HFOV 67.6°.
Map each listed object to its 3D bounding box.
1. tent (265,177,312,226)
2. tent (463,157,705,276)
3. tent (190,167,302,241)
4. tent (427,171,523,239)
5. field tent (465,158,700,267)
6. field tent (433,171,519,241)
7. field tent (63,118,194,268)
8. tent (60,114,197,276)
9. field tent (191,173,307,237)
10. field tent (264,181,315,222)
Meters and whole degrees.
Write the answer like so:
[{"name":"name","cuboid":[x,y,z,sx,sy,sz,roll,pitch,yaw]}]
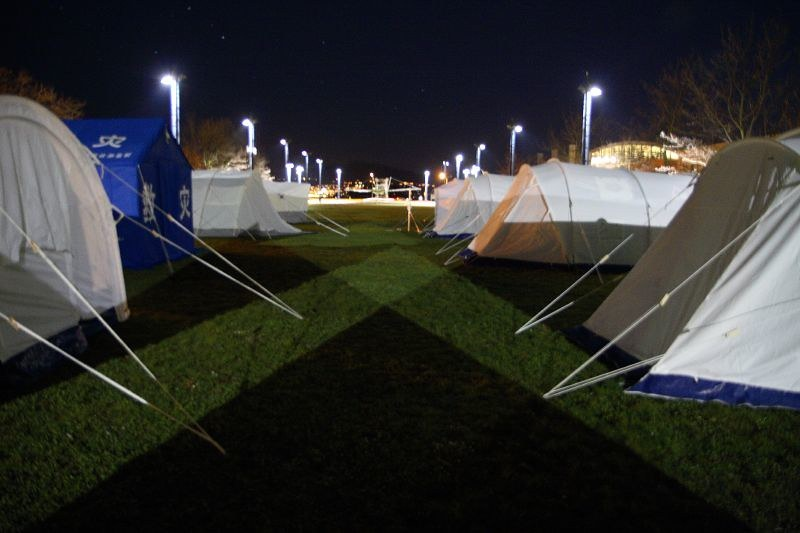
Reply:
[{"name":"tent","cuboid":[-5.043,-2.843,26.874,1.796,1.351,1.969,-1,24,-4]},{"name":"tent","cuboid":[4.114,-1.247,13.867,3.758,1.396,3.126,-7,39,-9]},{"name":"tent","cuboid":[-5.640,-2.170,20.850,2.466,1.413,2.652,0,9,3]},{"name":"tent","cuboid":[2.517,-2.142,20.653,1.975,1.164,2.549,-14,8,-22]},{"name":"field tent","cuboid":[4.318,-1.276,13.863,3.709,1.482,3.099,-7,41,-10]},{"name":"field tent","cuboid":[2.426,-1.991,20.873,1.965,1.149,2.501,-11,3,-31]},{"name":"field tent","cuboid":[-5.308,-1.446,11.629,2.496,2.293,2.724,3,19,5]},{"name":"tent","cuboid":[-5.259,-1.347,11.533,2.706,2.578,2.449,5,20,11]},{"name":"field tent","cuboid":[-5.665,-2.133,20.769,2.431,1.405,2.578,-1,10,4]},{"name":"field tent","cuboid":[-5.026,-2.994,26.898,1.762,1.296,1.916,1,13,15]}]
